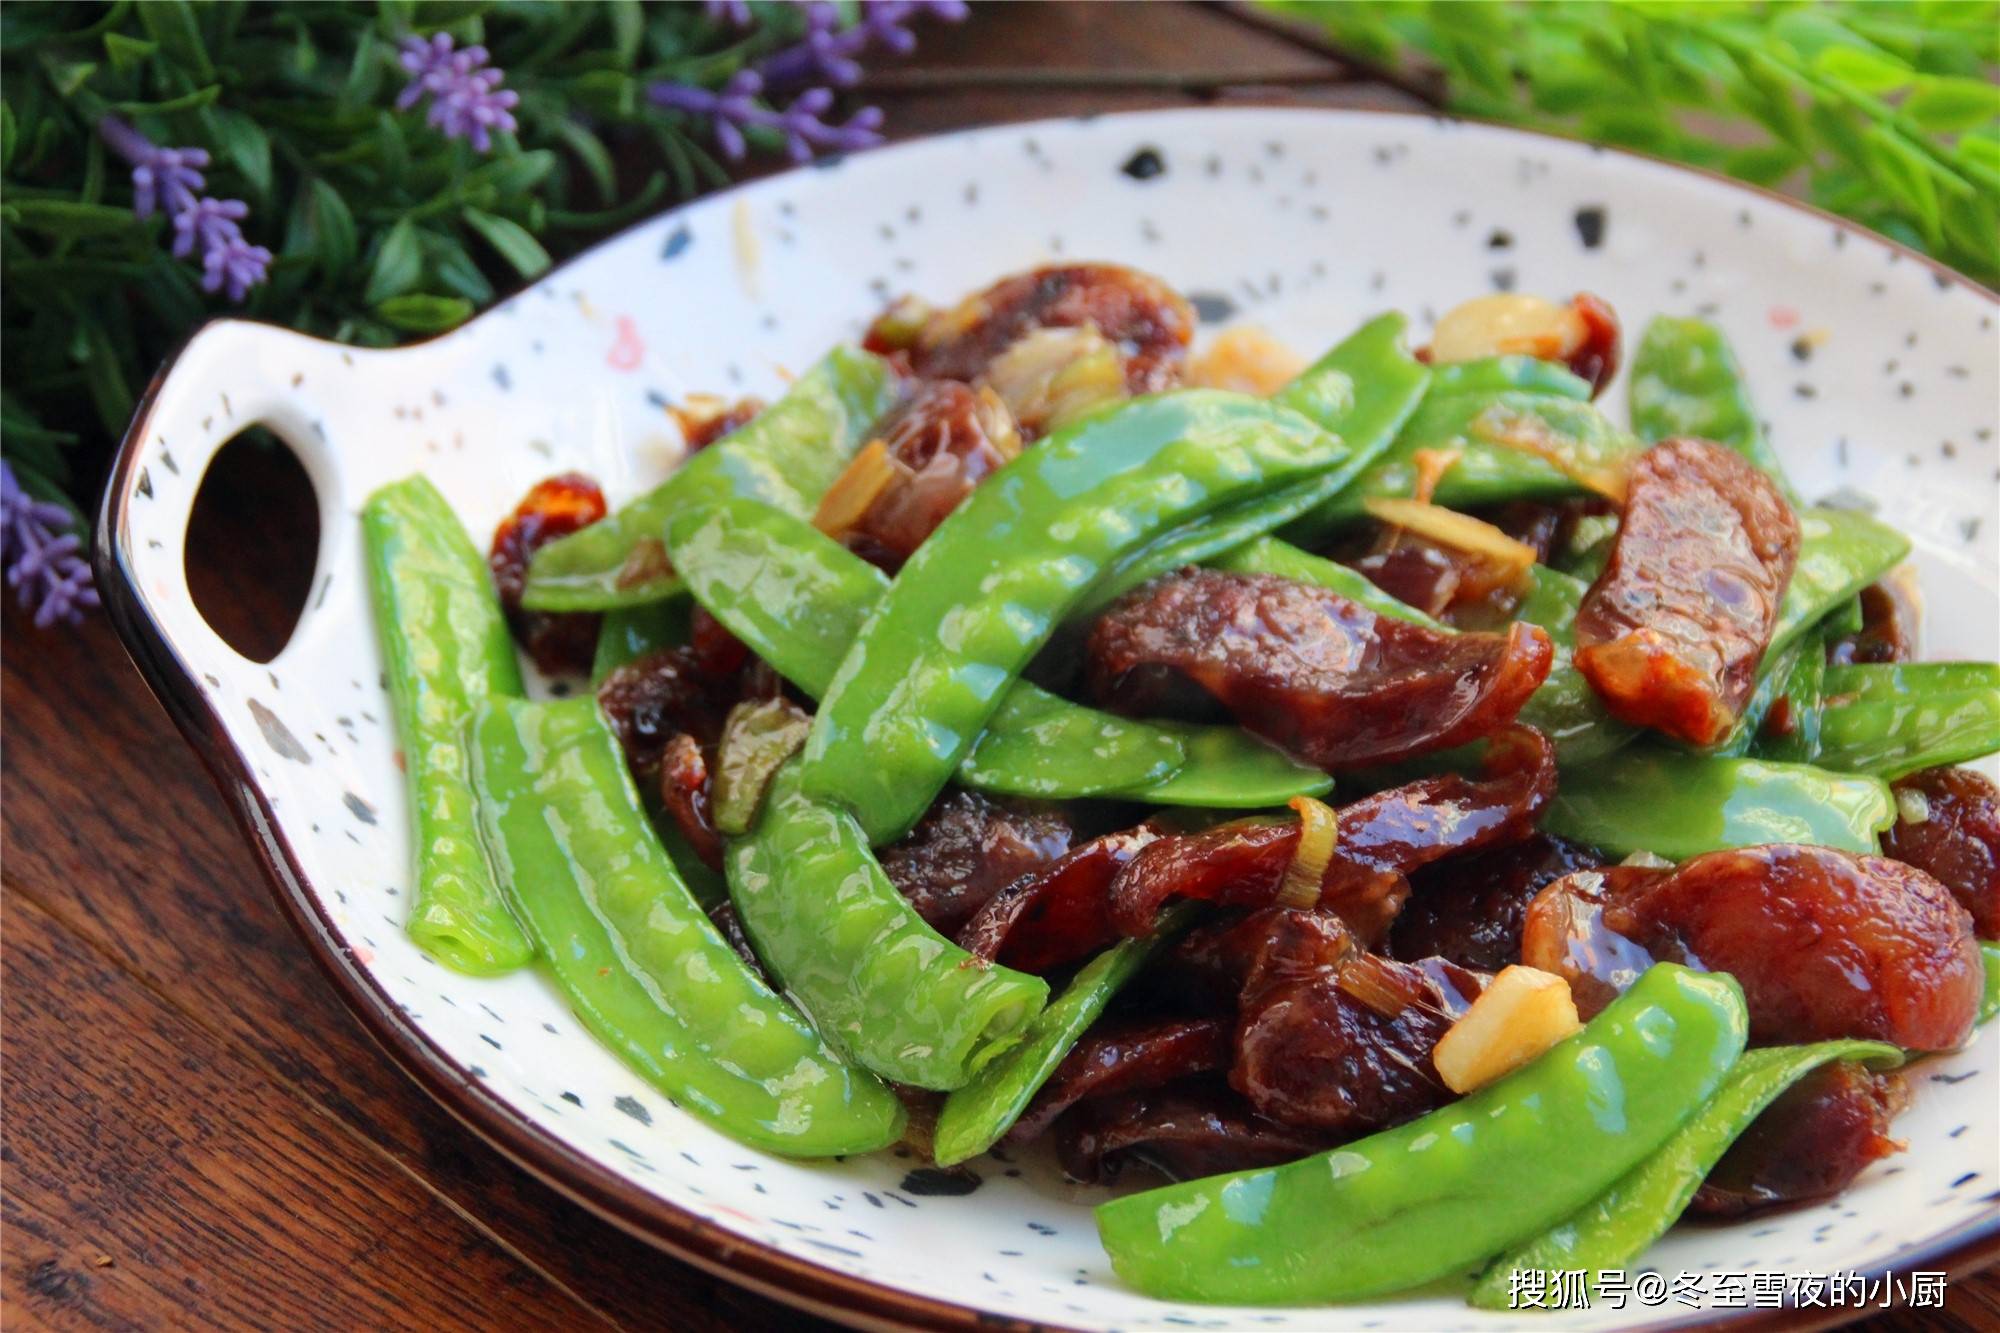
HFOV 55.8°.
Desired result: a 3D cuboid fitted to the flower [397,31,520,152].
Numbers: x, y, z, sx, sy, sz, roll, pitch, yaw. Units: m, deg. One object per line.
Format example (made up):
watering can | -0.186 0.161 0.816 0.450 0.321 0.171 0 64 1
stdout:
flower | -1.096 -1.213 3.929 0.101 0.287 0.276 -40 -75 17
